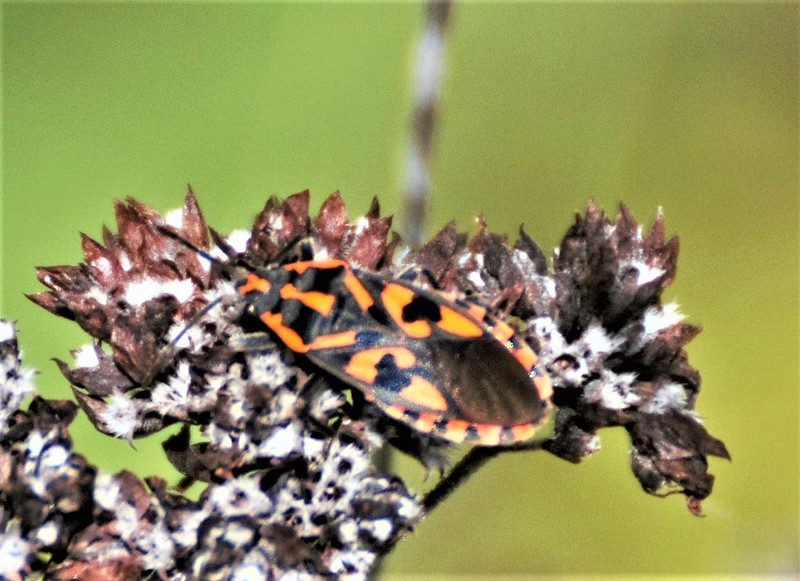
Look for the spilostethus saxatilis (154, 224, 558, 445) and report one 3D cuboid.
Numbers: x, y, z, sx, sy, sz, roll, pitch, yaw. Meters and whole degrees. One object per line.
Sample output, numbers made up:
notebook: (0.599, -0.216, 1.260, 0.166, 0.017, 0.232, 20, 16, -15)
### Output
spilostethus saxatilis: (-0.034, 0.074, 2.364, 0.509, 0.287, 0.105, 30, -19, -2)
